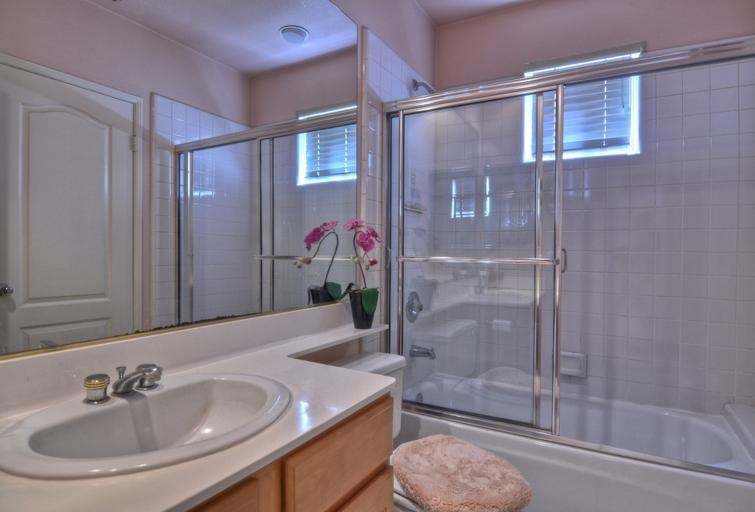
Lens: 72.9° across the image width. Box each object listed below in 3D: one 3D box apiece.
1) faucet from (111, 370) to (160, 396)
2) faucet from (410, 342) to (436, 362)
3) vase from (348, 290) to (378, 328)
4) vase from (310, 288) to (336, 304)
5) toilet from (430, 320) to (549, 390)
[{"bbox_3d":[-0.770,0.391,1.640,0.074,0.059,0.148,1,0,15],"label":"faucet"},{"bbox_3d":[0.260,0.557,2.894,0.149,0.060,0.060,-4,-6,36],"label":"faucet"},{"bbox_3d":[-0.079,0.265,2.542,0.186,0.187,0.166,2,-6,-18],"label":"vase"},{"bbox_3d":[-0.265,0.193,2.463,0.087,0.083,0.060,-3,3,-23],"label":"vase"},{"bbox_3d":[0.596,0.519,2.737,0.606,0.397,0.332,-1,-5,30],"label":"toilet"}]
